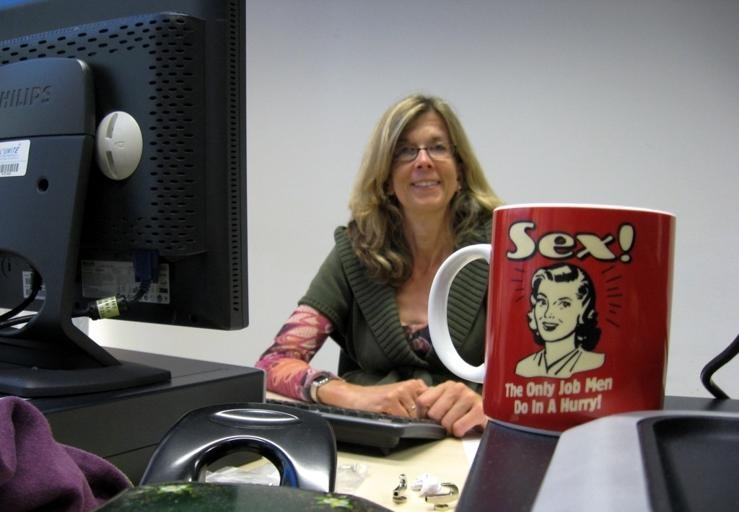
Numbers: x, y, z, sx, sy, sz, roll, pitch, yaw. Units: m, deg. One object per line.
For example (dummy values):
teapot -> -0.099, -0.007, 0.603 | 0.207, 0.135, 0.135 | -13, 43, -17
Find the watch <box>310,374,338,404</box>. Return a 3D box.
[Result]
watch -> -0.080, 0.229, 1.040 | 0.044, 0.042, 0.043 | -5, 36, -19

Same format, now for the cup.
cup -> 0.137, 0.045, 0.461 | 0.187, 0.171, 0.123 | 0, -1, 28

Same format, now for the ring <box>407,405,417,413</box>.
ring -> 0.068, 0.242, 0.931 | 0.014, 0.011, 0.014 | -1, -2, 0
